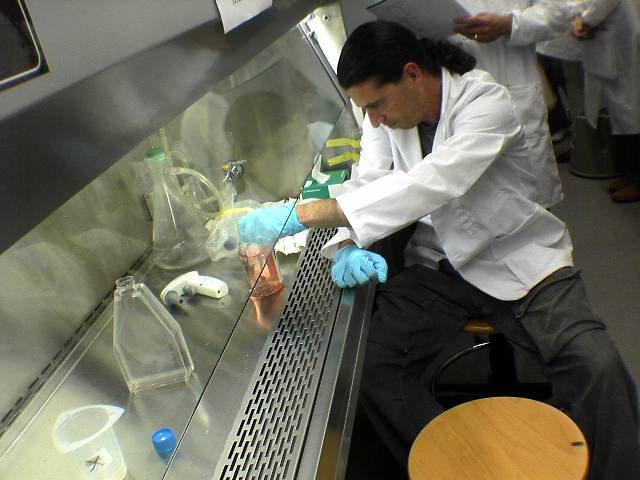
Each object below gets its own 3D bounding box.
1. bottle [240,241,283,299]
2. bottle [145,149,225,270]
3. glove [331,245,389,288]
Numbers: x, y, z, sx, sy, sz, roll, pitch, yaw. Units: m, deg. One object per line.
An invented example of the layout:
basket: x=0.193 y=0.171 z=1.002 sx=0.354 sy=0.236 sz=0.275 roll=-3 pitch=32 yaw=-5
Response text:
bottle: x=-0.172 y=0.116 z=1.169 sx=0.112 sy=0.118 sz=0.194 roll=4 pitch=45 yaw=-20
bottle: x=-0.374 y=-0.075 z=1.155 sx=0.149 sy=0.308 sz=0.225 roll=8 pitch=27 yaw=30
glove: x=0.141 y=0.096 z=1.473 sx=0.167 sy=0.080 sz=0.128 roll=0 pitch=46 yaw=-43
